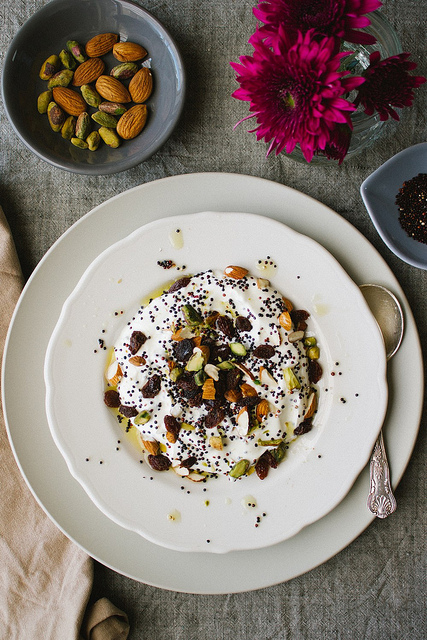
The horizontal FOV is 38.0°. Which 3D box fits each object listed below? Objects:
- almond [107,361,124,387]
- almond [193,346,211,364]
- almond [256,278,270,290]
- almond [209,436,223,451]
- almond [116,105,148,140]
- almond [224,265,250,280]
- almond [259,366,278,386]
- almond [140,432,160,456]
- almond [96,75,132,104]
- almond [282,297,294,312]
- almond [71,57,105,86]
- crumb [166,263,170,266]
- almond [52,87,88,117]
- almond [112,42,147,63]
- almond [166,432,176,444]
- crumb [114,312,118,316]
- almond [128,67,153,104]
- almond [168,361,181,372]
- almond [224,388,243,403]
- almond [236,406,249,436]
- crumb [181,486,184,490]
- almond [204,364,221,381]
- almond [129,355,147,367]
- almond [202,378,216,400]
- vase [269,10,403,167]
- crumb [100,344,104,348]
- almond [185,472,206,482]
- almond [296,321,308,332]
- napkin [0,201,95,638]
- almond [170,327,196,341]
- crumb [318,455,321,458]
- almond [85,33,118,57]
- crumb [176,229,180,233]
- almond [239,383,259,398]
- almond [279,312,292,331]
[{"bbox_3d":[-0.199,0.108,1.250,0.034,0.022,0.042,-33,74,-10],"label":"almond"},{"bbox_3d":[-0.015,0.069,1.202,0.030,0.008,0.033,0,90,-25],"label":"almond"},{"bbox_3d":[0.098,-0.071,1.218,0.026,0.014,0.016,-17,87,-39],"label":"almond"},{"bbox_3d":[0.008,0.240,1.211,0.022,0.007,0.028,-35,89,21],"label":"almond"},{"bbox_3d":[-0.160,-0.395,1.236,0.048,0.026,0.072,39,100,-4],"label":"almond"},{"bbox_3d":[0.044,-0.093,1.215,0.040,0.009,0.023,8,73,13],"label":"almond"},{"bbox_3d":[0.103,0.112,1.198,0.022,0.014,0.048,-37,75,-11],"label":"almond"},{"bbox_3d":[-0.125,0.248,1.243,0.030,0.012,0.044,-14,106,25],"label":"almond"},{"bbox_3d":[-0.198,-0.455,1.246,0.070,0.027,0.043,37,103,-6],"label":"almond"},{"bbox_3d":[0.150,-0.031,1.234,0.019,0.005,0.027,-10,82,-36],"label":"almond"},{"bbox_3d":[-0.250,-0.498,1.249,0.067,0.025,0.042,-41,91,2],"label":"almond"},{"bbox_3d":[-0.090,-0.109,1.234,0.005,0.001,0.004,-14,97,-13],"label":"crumb"},{"bbox_3d":[-0.289,-0.442,1.254,0.069,0.026,0.045,38,91,-5],"label":"almond"},{"bbox_3d":[-0.164,-0.531,1.236,0.064,0.022,0.034,7,90,-1],"label":"almond"},{"bbox_3d":[-0.083,0.232,1.222,0.015,0.004,0.021,-6,100,13],"label":"almond"},{"bbox_3d":[-0.195,-0.011,1.253,0.006,0.004,0.006,-8,72,-2],"label":"crumb"},{"bbox_3d":[-0.143,-0.465,1.233,0.048,0.022,0.065,12,101,-9],"label":"almond"},{"bbox_3d":[-0.074,0.092,1.215,0.018,0.006,0.016,-16,62,-30],"label":"almond"},{"bbox_3d":[0.041,0.148,1.209,0.027,0.009,0.027,-10,80,2],"label":"almond"},{"bbox_3d":[0.057,0.195,1.196,0.031,0.012,0.049,7,99,9],"label":"almond"},{"bbox_3d":[-0.062,0.339,1.251,0.005,0.001,0.004,3,78,-4],"label":"crumb"},{"bbox_3d":[-0.001,0.102,1.202,0.025,0.012,0.031,-38,92,-8],"label":"almond"},{"bbox_3d":[-0.148,0.081,1.218,0.030,0.011,0.020,28,74,9],"label":"almond"},{"bbox_3d":[-0.007,0.134,1.203,0.024,0.015,0.039,2,71,1],"label":"almond"},{"bbox_3d":[0.221,-0.411,1.194,0.290,0.216,0.293,5,110,10],"label":"vase"},{"bbox_3d":[-0.225,0.052,1.257,0.009,0.002,0.007,-2,93,-11],"label":"crumb"},{"bbox_3d":[-0.032,0.316,1.244,0.036,0.022,0.017,16,73,6],"label":"almond"},{"bbox_3d":[0.176,0.012,1.232,0.011,0.012,0.020,27,93,-43],"label":"almond"},{"bbox_3d":[-0.368,0.176,1.392,0.184,0.113,0.965,2,86,-3],"label":"napkin"},{"bbox_3d":[-0.059,0.029,1.214,0.032,0.010,0.031,1,71,1],"label":"almond"},{"bbox_3d":[0.210,0.269,1.220,0.005,0.003,0.005,-8,72,-2],"label":"crumb"},{"bbox_3d":[-0.222,-0.548,1.243,0.061,0.021,0.036,-16,95,-1],"label":"almond"},{"bbox_3d":[-0.069,-0.175,1.222,0.006,0.005,0.005,-2,72,0],"label":"crumb"},{"bbox_3d":[0.071,0.138,1.205,0.023,0.006,0.035,-27,73,-8],"label":"almond"},{"bbox_3d":[0.142,0.002,1.202,0.009,0.030,0.029,-2,88,22],"label":"almond"}]
